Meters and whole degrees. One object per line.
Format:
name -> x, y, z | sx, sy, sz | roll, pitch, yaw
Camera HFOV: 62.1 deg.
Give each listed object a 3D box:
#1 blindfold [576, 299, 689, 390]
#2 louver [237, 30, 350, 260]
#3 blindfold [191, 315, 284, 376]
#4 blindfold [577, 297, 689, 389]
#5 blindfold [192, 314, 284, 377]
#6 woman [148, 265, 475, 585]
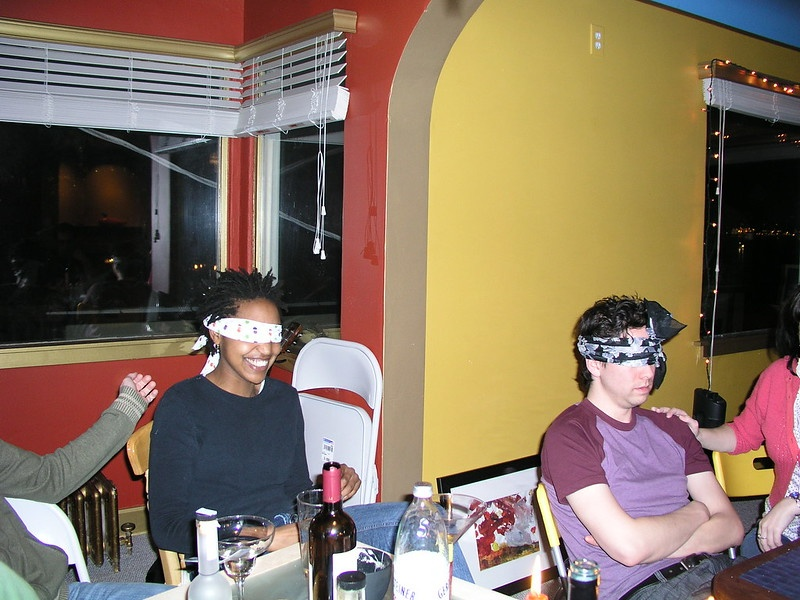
blindfold -> 0.913, 0.183, 2.729 | 0.393, 0.421, 0.315 | -8, -7, 44
louver -> -0.643, -0.877, 3.750 | 0.957, 1.229, 0.119 | 5, 7, 44
blindfold -> -0.674, 0.124, 2.756 | 0.269, 0.159, 0.276 | -18, 14, -16
blindfold -> 0.936, 0.194, 2.654 | 0.391, 0.381, 0.299 | -7, 8, 12
blindfold -> -0.640, 0.120, 2.635 | 0.282, 0.151, 0.306 | 8, 4, -6
woman -> -0.628, 0.569, 3.302 | 1.623, 1.766, 0.814 | -10, -9, 18
